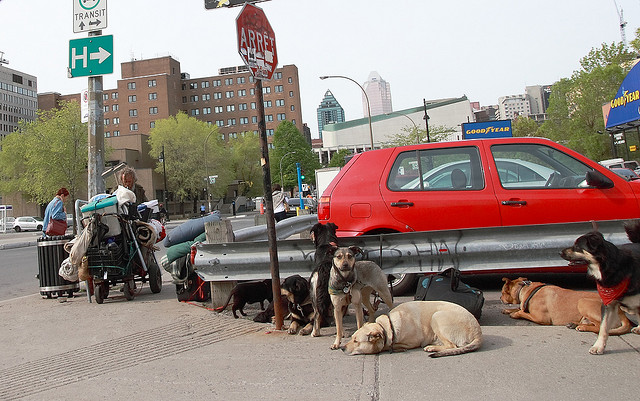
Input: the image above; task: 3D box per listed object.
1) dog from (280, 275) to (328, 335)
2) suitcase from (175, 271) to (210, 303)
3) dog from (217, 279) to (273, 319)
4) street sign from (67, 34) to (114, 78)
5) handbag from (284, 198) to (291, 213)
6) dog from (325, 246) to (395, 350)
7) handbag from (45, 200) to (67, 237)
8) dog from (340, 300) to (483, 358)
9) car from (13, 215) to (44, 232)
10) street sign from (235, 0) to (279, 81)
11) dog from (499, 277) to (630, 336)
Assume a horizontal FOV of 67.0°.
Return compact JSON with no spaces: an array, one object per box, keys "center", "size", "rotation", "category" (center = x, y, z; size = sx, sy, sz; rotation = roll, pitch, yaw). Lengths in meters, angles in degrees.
[{"center":[-0.247,1.793,8.246],"size":[0.503,0.914,1.502],"rotation":[-9,-13,20],"category":"dog"},{"center":[-2.538,1.765,9.603],"size":[0.661,0.668,0.549],"rotation":[-2,6,26],"category":"suitcase"},{"center":[-1.241,1.714,8.678],"size":[1.401,0.696,0.324],"rotation":[3,2,-36],"category":"dog"},{"center":[-5.531,-3.433,11.583],"size":[1.350,0.967,0.086],"rotation":[-1,0,15],"category":"street sign"},{"center":[-1.963,0.330,28.480],"size":[0.119,1.118,0.281],"rotation":[8,34,41],"category":"handbag"},{"center":[0.669,1.464,7.821],"size":[0.766,1.513,2.305],"rotation":[-6,-4,25],"category":"dog"},{"center":[-7.108,0.688,12.962],"size":[0.459,0.591,0.663],"rotation":[-9,10,-30],"category":"handbag"},{"center":[1.361,1.718,6.886],"size":[1.407,0.493,0.923],"rotation":[-5,-2,15],"category":"dog"},{"center":[-32.155,2.602,53.513],"size":[3.694,1.343,1.669],"rotation":[0,9,25],"category":"car"},{"center":[-1.025,-2.569,7.804],"size":[0.318,1.242,1.065],"rotation":[-1,9,19],"category":"street sign"},{"center":[3.670,1.590,7.512],"size":[1.801,0.668,0.664],"rotation":[-4,0,42],"category":"dog"}]
